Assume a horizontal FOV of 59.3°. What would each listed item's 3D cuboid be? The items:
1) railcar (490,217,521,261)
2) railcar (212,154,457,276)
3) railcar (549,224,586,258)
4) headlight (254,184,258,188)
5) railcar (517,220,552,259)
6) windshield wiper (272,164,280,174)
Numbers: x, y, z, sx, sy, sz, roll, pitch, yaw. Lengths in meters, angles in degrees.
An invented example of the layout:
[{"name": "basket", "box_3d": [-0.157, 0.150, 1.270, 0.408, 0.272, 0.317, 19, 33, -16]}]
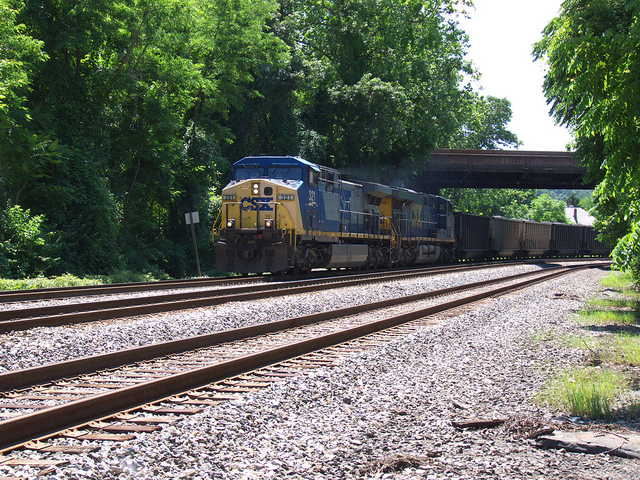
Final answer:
[{"name": "railcar", "box_3d": [12.572, 0.021, 40.712, 2.437, 3.337, 4.142, 0, -1, 43]}, {"name": "railcar", "box_3d": [2.062, -0.687, 25.680, 3.372, 3.818, 16.952, 2, 0, 32]}, {"name": "railcar", "box_3d": [20.400, -0.009, 46.729, 2.461, 1.562, 3.739, -1, -6, 6]}, {"name": "headlight", "box_3d": [-2.135, -1.794, 18.720, 0.138, 0.140, 0.032, 5, -1, -1]}, {"name": "railcar", "box_3d": [15.820, -0.136, 43.402, 2.562, 3.508, 3.980, -1, -2, 33]}, {"name": "windshield wiper", "box_3d": [-1.513, -2.435, 19.367, 0.062, 0.367, 0.062, 31, 1, 42]}]
